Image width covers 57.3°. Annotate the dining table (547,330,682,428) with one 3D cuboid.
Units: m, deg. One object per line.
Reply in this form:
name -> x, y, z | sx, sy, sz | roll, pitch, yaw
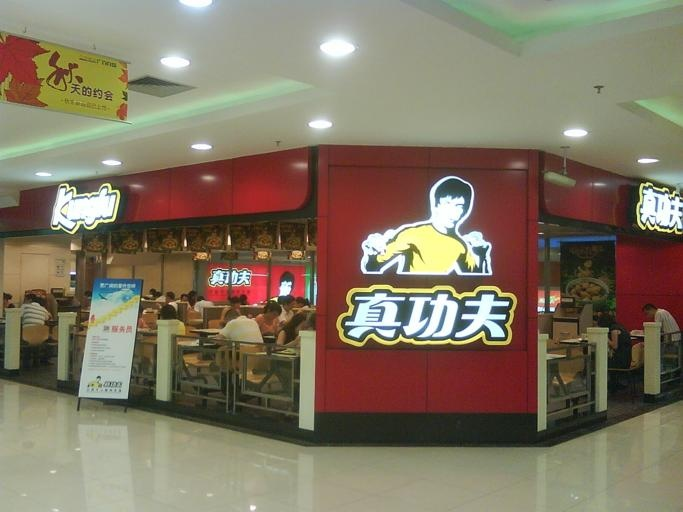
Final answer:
dining table -> 4.063, 1.838, 9.229 | 1.356, 1.205, 0.725 | 5, -8, -43
